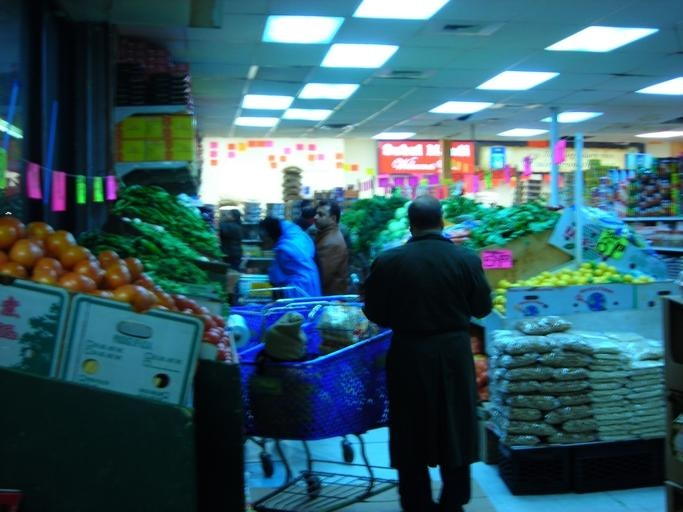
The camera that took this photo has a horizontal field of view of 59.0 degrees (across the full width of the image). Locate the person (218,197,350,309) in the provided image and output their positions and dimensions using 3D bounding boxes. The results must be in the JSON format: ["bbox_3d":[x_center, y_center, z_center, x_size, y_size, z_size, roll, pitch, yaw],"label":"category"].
[{"bbox_3d":[-0.393,0.012,5.328,1.201,1.135,0.688,3,-2,-3],"label":"person"}]
